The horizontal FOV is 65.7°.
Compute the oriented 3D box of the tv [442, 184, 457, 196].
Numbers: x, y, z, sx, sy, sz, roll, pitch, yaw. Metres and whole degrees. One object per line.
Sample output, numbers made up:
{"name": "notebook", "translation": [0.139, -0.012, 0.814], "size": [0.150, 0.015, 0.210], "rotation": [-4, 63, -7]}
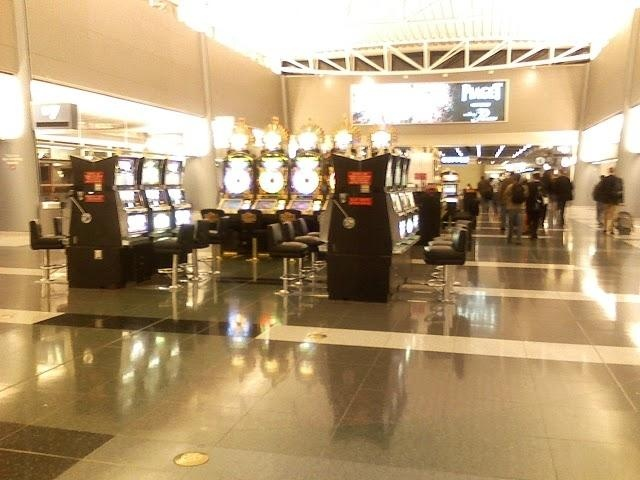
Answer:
{"name": "tv", "translation": [5.043, -1.969, 19.217], "size": [0.476, 0.455, 1.333], "rotation": [2, 9, 11]}

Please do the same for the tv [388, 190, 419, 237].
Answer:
{"name": "tv", "translation": [1.184, -0.369, 7.100], "size": [0.422, 0.543, 0.956], "rotation": [-5, 6, 14]}

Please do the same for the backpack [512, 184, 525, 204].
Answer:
{"name": "backpack", "translation": [4.306, -0.993, 10.789], "size": [0.262, 0.436, 0.167], "rotation": [3, 12, 15]}
